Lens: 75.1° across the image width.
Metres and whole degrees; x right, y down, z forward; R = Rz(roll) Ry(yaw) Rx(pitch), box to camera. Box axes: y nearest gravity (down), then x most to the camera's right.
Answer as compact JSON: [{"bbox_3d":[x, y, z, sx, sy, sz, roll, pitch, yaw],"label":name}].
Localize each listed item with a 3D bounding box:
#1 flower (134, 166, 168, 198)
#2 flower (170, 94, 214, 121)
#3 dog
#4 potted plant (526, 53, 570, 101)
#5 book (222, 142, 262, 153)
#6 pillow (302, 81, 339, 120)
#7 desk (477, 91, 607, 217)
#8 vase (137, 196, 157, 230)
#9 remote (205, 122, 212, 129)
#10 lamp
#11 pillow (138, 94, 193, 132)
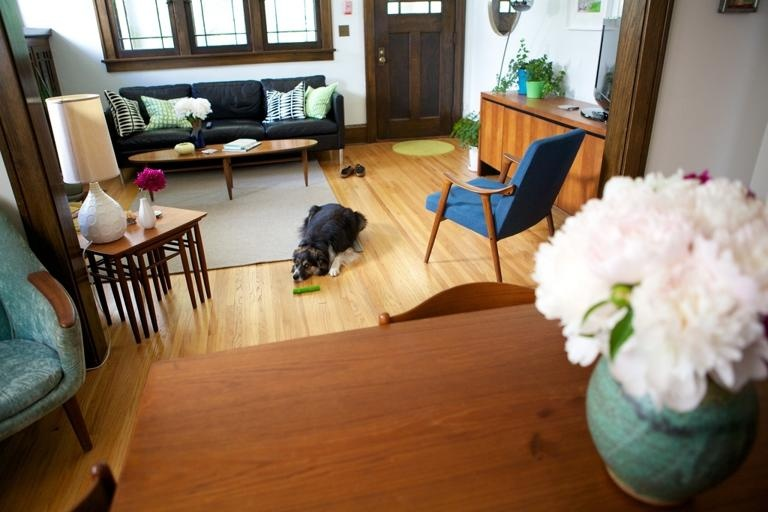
[{"bbox_3d":[-1.557,-0.491,3.324,0.163,0.200,0.264,-17,31,-27],"label":"flower"},{"bbox_3d":[-1.974,-1.548,5.221,0.356,0.265,0.358,-2,19,-6],"label":"flower"},{"bbox_3d":[-0.447,-0.147,3.932,0.561,0.307,0.864,2,33,10],"label":"dog"},{"bbox_3d":[1.552,-1.659,4.699,0.373,0.360,0.320,-27,46,-26],"label":"potted plant"},{"bbox_3d":[-1.504,-1.149,5.257,0.372,0.065,0.344,-7,28,-12],"label":"book"},{"bbox_3d":[-0.793,-1.843,6.018,0.440,0.444,0.134,18,4,43],"label":"pillow"},{"bbox_3d":[1.177,-0.761,3.632,0.397,0.719,1.355,-4,33,-10],"label":"desk"},{"bbox_3d":[-1.476,-0.283,3.065,0.118,0.174,0.254,-14,30,-23],"label":"vase"},{"bbox_3d":[-2.043,-1.515,5.817,0.076,0.013,0.305,-9,29,-14],"label":"remote"},{"bbox_3d":[-1.615,-0.462,2.750,0.287,0.778,0.237,-19,32,-29],"label":"lamp"},{"bbox_3d":[-2.516,-1.632,5.751,0.526,0.159,0.521,-10,52,-32],"label":"pillow"}]
